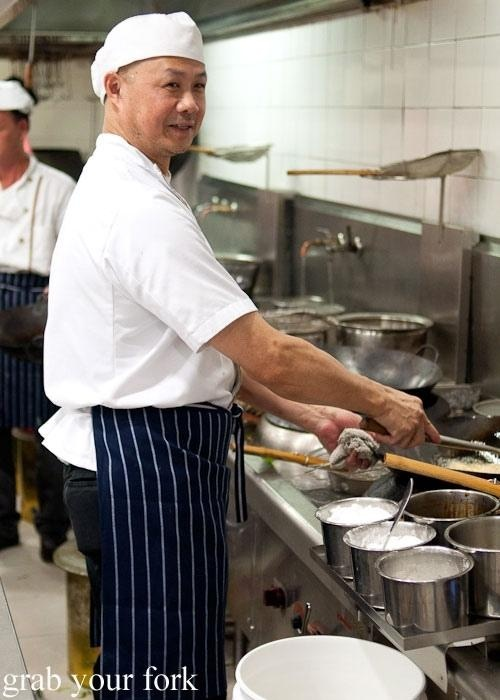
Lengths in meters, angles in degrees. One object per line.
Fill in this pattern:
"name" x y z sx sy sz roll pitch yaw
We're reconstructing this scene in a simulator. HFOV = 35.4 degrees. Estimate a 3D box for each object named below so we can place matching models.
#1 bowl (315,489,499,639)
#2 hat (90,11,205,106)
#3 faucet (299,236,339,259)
"bowl" 0.212 0.322 1.185 0.184 0.107 0.181 -4 4 0
"hat" -0.159 -0.471 1.269 0.175 0.115 0.117 -19 0 20
"faucet" 0.238 -0.357 2.728 0.084 0.032 0.102 2 -5 -16
